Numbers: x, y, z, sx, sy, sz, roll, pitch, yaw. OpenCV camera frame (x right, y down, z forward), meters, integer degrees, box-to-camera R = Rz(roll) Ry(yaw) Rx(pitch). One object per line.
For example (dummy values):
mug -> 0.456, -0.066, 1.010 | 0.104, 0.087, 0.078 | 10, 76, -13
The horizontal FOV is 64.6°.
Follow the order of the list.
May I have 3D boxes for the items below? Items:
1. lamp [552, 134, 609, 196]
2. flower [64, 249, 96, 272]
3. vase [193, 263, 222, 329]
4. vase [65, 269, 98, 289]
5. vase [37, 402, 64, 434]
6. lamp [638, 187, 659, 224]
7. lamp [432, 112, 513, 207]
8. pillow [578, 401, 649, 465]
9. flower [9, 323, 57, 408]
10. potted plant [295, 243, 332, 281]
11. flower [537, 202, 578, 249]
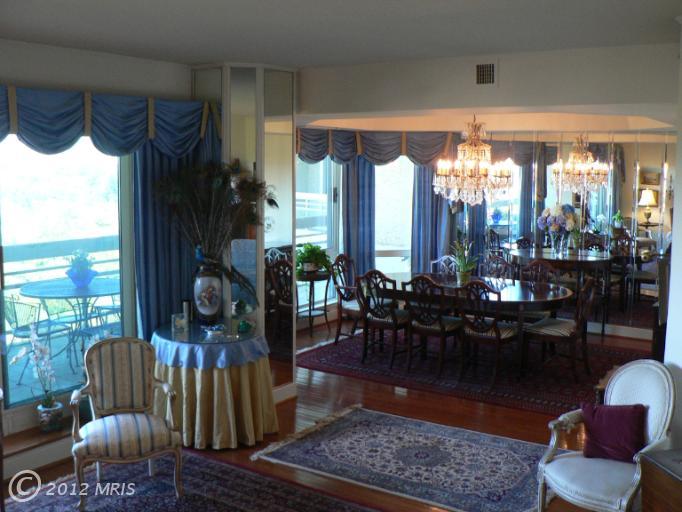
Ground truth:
lamp -> 3.626, -1.383, 8.246 | 0.692, 1.046, 0.745 | 1, 6, 20
flower -> -2.346, 0.034, 4.895 | 0.068, 0.191, 0.177 | 2, -5, 29
vase -> -1.240, 0.335, 5.042 | 0.258, 0.555, 0.277 | 8, 10, 27
vase -> -2.353, 0.191, 4.908 | 0.153, 0.104, 0.165 | -2, -2, 3
vase -> -2.451, 1.341, 4.580 | 0.206, 0.231, 0.219 | 0, 0, 4
lamp -> 4.429, -0.747, 7.827 | 0.245, 0.503, 0.085 | 3, 8, 30
lamp -> 1.687, -1.332, 7.402 | 0.962, 1.167, 1.324 | -2, 7, -8
pillow -> 1.879, 1.201, 3.704 | 0.321, 0.328, 0.115 | -5, -20, 33
flower -> -2.587, 0.924, 4.617 | 0.253, 0.679, 0.339 | 5, 9, 41
potted plant -> -0.395, 0.006, 8.018 | 0.410, 0.537, 0.557 | 2, 5, 12
flower -> 3.280, -0.473, 8.148 | 0.585, 0.760, 0.598 | -4, 3, -41
